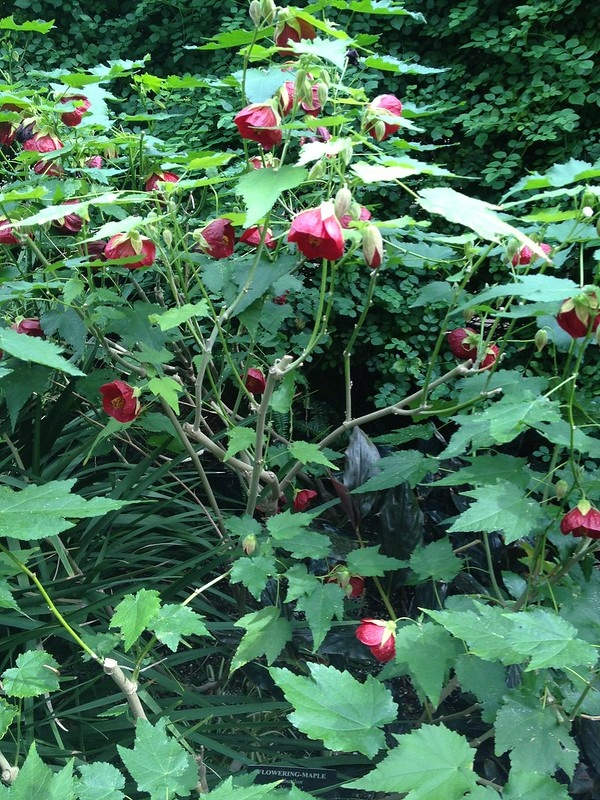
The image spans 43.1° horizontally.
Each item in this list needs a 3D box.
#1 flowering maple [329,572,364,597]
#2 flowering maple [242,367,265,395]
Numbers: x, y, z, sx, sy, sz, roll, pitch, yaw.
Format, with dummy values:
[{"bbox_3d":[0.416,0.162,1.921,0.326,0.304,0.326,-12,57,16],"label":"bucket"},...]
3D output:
[{"bbox_3d":[0.111,0.446,1.814,0.087,0.045,0.092,2,1,7],"label":"flowering maple"},{"bbox_3d":[-0.119,-0.053,2.047,0.066,0.069,0.123,1,13,10],"label":"flowering maple"}]
